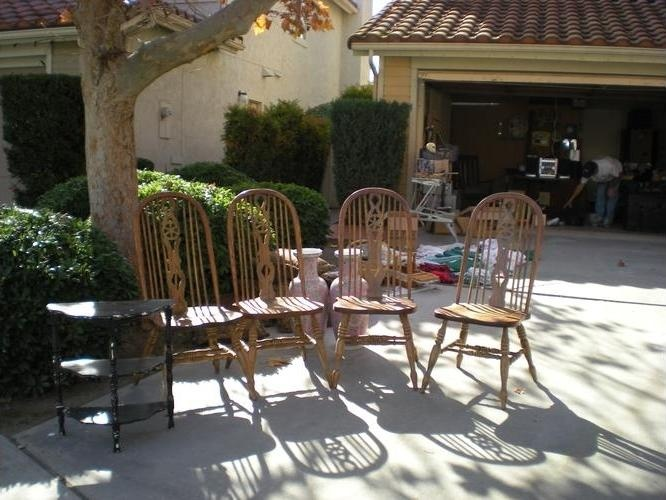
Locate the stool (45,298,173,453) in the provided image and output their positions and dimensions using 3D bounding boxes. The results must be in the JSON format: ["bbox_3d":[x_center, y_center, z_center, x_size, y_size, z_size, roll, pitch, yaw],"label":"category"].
[{"bbox_3d":[-1.270,0.693,3.367,0.626,0.735,0.735,-8,-19,0],"label":"stool"}]

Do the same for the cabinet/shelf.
[{"bbox_3d":[3.933,-0.951,10.410,1.629,1.220,0.925,1,5,-2],"label":"cabinet/shelf"}]

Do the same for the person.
[{"bbox_3d":[5.005,-1.060,10.932,1.333,1.594,0.644,-26,27,-21],"label":"person"}]

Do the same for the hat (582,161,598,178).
[{"bbox_3d":[4.722,-1.479,10.656,0.283,0.331,0.232,-6,15,-24],"label":"hat"}]
